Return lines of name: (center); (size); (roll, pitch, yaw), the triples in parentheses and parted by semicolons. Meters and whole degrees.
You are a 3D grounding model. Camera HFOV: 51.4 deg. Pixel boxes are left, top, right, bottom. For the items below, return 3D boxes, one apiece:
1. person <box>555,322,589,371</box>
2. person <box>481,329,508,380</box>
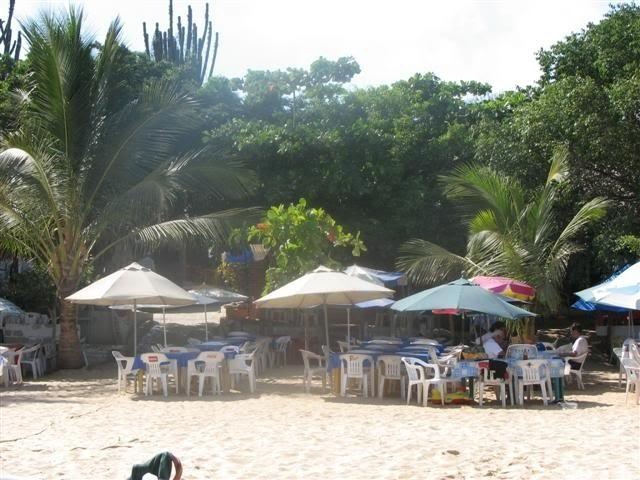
person: (5.743, 2.632, 15.309); (0.724, 1.339, 0.651); (2, 8, 24)
person: (3.632, 2.437, 13.912); (0.590, 0.544, 1.534); (-5, 21, 11)
